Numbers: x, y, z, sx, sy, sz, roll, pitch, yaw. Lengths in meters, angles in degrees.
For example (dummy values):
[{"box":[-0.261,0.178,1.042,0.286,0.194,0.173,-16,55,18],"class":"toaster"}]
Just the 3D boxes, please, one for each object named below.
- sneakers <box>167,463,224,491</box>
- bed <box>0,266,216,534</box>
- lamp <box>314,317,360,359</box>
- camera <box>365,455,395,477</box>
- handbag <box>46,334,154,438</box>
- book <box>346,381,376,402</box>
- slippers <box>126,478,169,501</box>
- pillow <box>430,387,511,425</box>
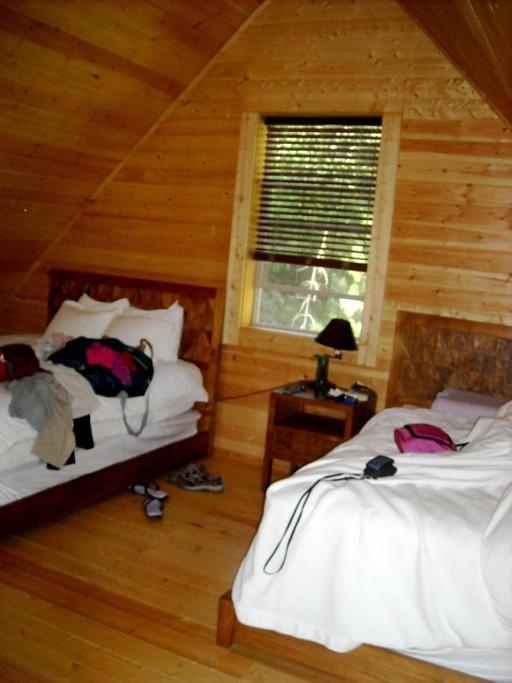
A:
[{"box":[-0.342,0.799,3.193,0.337,0.119,0.132,4,9,9],"class":"sneakers"},{"box":[-0.975,0.211,3.287,1.270,1.231,0.814,1,-2,27],"class":"bed"},{"box":[0.480,-0.023,3.223,0.240,0.193,0.228,1,6,-32],"class":"lamp"},{"box":[0.409,0.407,1.816,0.055,0.031,0.100,19,16,35],"class":"camera"},{"box":[-0.794,0.132,2.909,0.579,0.541,0.204,7,23,15],"class":"handbag"},{"box":[0.611,0.292,3.180,0.131,0.036,0.127,6,8,21],"class":"book"},{"box":[-0.591,0.809,2.986,0.173,0.032,0.100,9,7,26],"class":"slippers"},{"box":[1.118,0.337,2.896,0.359,0.090,0.519,8,6,25],"class":"pillow"}]
